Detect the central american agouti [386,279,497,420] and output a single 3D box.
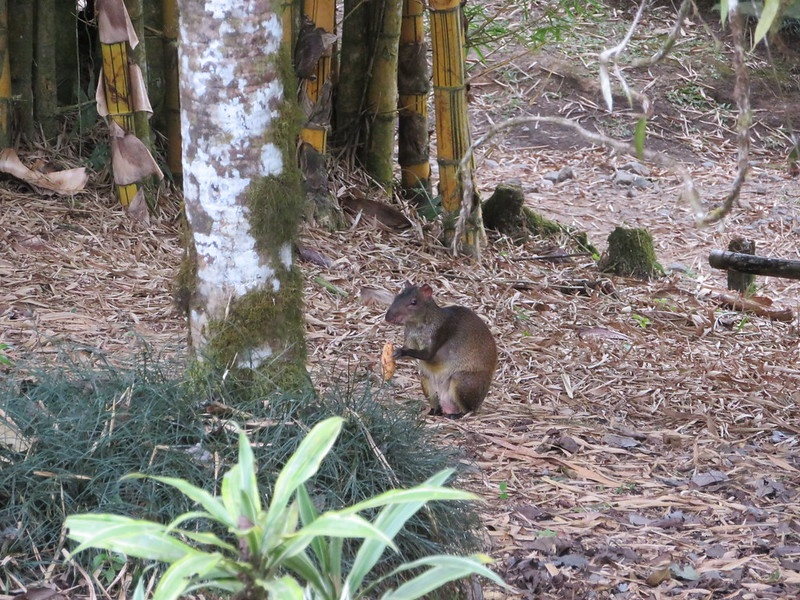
[{"bbox_3d":[0.227,0.274,5.671,0.613,0.716,0.365,2,9,3],"label":"central american agouti"}]
